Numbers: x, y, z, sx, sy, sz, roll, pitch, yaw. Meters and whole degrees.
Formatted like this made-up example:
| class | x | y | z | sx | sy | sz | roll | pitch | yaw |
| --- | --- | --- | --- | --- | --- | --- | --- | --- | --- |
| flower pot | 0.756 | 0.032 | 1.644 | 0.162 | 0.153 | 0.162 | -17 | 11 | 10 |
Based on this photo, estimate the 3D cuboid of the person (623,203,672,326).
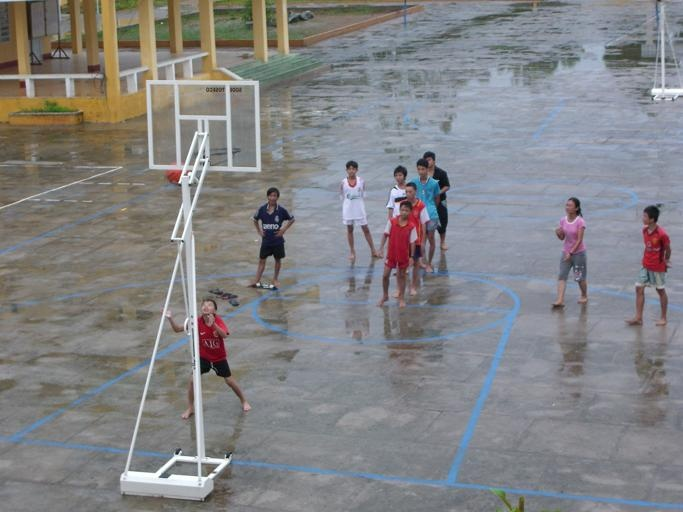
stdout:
| class | x | y | z | sx | sy | sz | roll | pitch | yaw |
| --- | --- | --- | --- | --- | --- | --- | --- | --- | --- |
| person | 5.013 | 0.114 | 18.243 | 0.649 | 1.974 | 0.710 | -2 | 14 | 13 |

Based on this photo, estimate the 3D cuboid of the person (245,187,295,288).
| class | x | y | z | sx | sy | sz | roll | pitch | yaw |
| --- | --- | --- | --- | --- | --- | --- | --- | --- | --- |
| person | -1.334 | -0.343 | 20.209 | 0.841 | 1.822 | 0.732 | -12 | 15 | -29 |

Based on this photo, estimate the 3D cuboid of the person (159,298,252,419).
| class | x | y | z | sx | sy | sz | roll | pitch | yaw |
| --- | --- | --- | --- | --- | --- | --- | --- | --- | --- |
| person | -1.894 | 1.437 | 15.996 | 0.999 | 1.754 | 0.882 | -6 | 13 | -5 |

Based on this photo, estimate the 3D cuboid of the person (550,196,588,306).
| class | x | y | z | sx | sy | sz | roll | pitch | yaw |
| --- | --- | --- | --- | --- | --- | --- | --- | --- | --- |
| person | 3.845 | -0.078 | 19.022 | 0.603 | 1.853 | 0.722 | -3 | 13 | 10 |
